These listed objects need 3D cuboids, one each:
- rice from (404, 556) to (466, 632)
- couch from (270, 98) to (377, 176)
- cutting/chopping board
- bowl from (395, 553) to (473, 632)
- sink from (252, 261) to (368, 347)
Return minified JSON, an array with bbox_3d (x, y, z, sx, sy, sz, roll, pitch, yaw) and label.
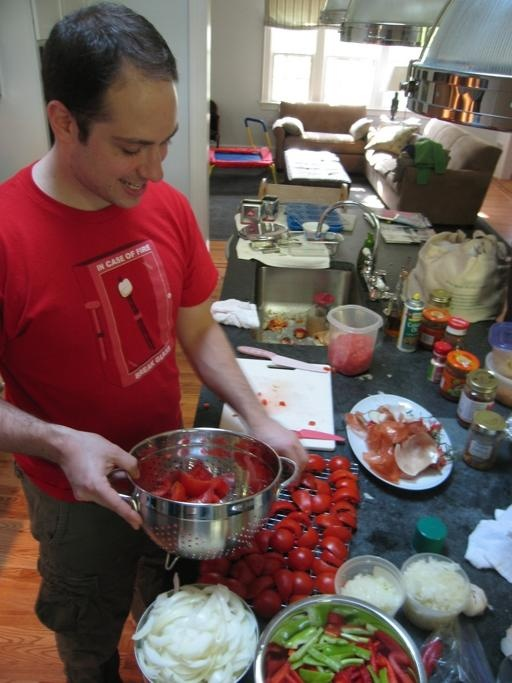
[{"bbox_3d":[0.292,0.408,0.901,0.100,0.067,0.104,8,38,8],"label":"rice"},{"bbox_3d":[0.933,-2.960,7.793,1.696,1.008,0.934,2,55,-1],"label":"couch"},{"bbox_3d":[0.097,0.176,1.498,0.210,0.013,0.299,4,28,0],"label":"cutting/chopping board"},{"bbox_3d":[0.296,0.422,0.922,0.113,0.070,0.112,6,31,-4],"label":"bowl"},{"bbox_3d":[0.235,-0.185,2.456,0.419,0.251,0.400,4,54,-1],"label":"sink"}]
